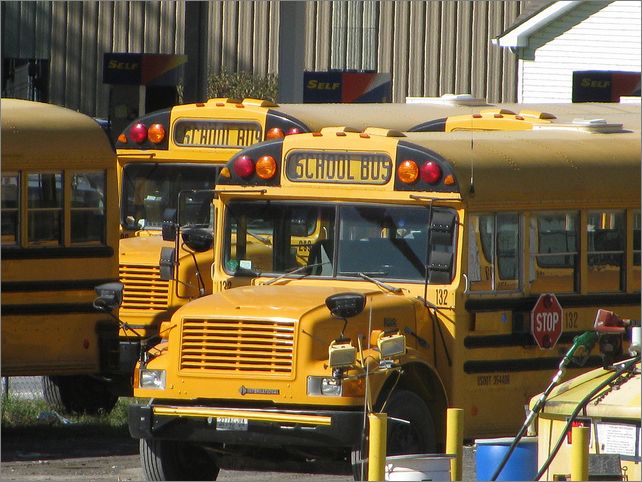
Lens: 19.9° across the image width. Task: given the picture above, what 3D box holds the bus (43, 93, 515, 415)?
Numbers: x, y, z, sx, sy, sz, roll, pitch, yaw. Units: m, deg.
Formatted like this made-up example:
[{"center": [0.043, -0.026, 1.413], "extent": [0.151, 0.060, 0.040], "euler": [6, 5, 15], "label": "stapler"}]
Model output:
[{"center": [-0.124, -0.369, 23.712], "extent": [2.654, 3.450, 7.025], "euler": [0, 2, 26], "label": "bus"}]

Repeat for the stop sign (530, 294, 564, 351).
[{"center": [2.301, 0.814, 18.690], "extent": [0.524, 0.700, 0.104], "euler": [-8, 15, -31], "label": "stop sign"}]
